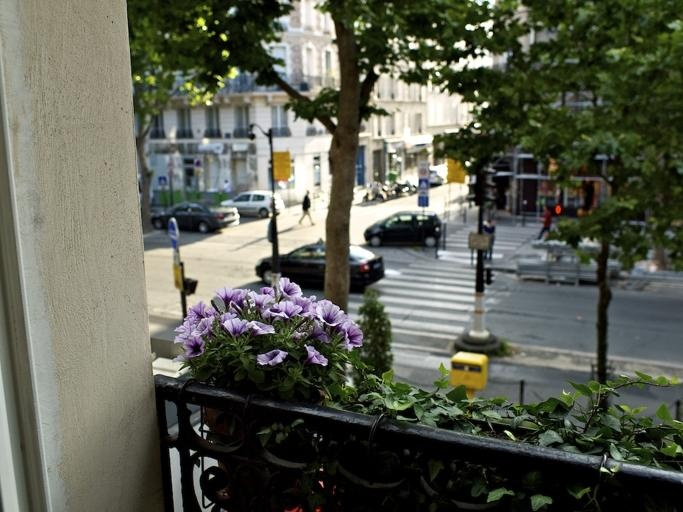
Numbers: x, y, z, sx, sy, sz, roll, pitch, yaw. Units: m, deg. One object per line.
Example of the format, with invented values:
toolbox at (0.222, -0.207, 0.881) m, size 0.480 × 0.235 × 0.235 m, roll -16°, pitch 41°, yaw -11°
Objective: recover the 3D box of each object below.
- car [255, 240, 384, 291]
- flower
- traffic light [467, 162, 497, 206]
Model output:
car at (-0.426, 0.258, 15.011) m, size 2.248 × 0.945 × 1.028 m, roll 6°, pitch 11°, yaw 16°
flower at (-0.323, 0.345, 3.372) m, size 0.778 × 0.462 × 0.402 m, roll 3°, pitch 10°, yaw 24°
traffic light at (1.506, -0.756, 8.211) m, size 0.308 × 0.426 × 0.841 m, roll 1°, pitch 10°, yaw 11°
